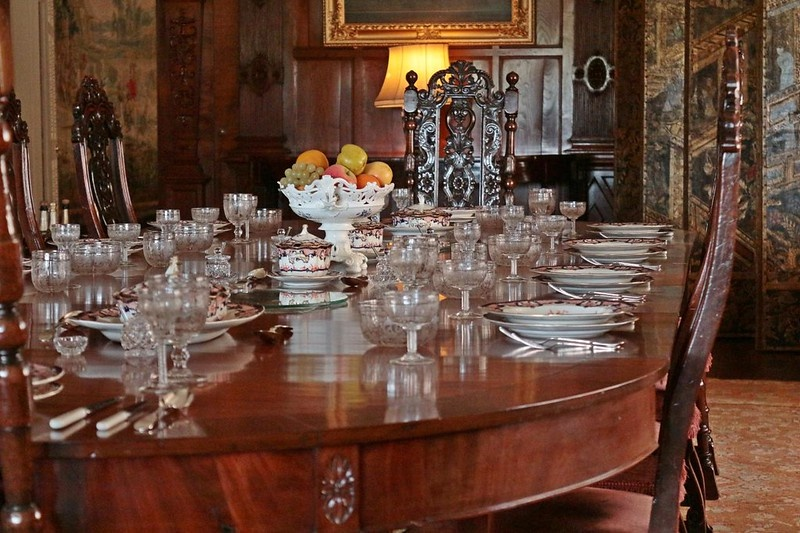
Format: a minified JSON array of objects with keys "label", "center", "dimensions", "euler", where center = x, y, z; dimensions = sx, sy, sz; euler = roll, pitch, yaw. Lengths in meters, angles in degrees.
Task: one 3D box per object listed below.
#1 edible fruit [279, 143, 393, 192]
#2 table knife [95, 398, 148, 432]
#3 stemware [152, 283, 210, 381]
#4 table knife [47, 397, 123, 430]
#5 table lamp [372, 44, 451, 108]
[{"label":"edible fruit","center":[-0.218,-0.304,2.321],"dimensions":[0.224,0.094,0.231],"euler":[-4,6,25]},{"label":"table knife","center":[-0.373,0.198,1.006],"dimensions":[0.013,0.016,0.113],"euler":[1,14,26]},{"label":"stemware","center":[-0.335,0.099,1.118],"dimensions":[0.085,0.151,0.086],"euler":[6,-1,8]},{"label":"table knife","center":[-0.433,0.202,0.998],"dimensions":[0.017,0.021,0.141],"euler":[-24,-6,28]},{"label":"table lamp","center":[0.100,-1.545,5.990],"dimensions":[0.681,0.498,0.732],"euler":[0,3,-2]}]
